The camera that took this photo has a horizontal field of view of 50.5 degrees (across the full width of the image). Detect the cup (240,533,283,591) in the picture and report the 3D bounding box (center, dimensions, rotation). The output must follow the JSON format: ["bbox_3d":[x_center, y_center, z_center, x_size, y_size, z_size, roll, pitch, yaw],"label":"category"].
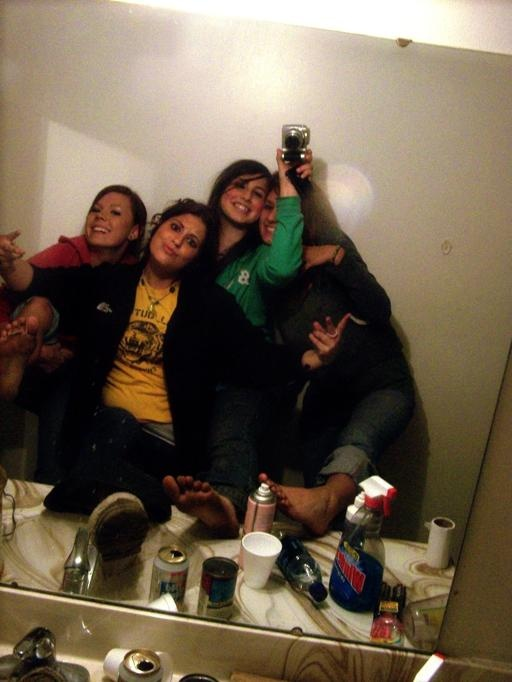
[{"bbox_3d":[0.005,0.374,0.937,0.097,0.094,0.093,4,-5,0],"label":"cup"}]

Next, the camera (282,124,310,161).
[{"bbox_3d":[0.064,-0.323,0.881,0.053,0.066,0.054,0,4,5],"label":"camera"}]

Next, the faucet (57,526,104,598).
[{"bbox_3d":[-0.311,0.397,0.973,0.046,0.126,0.133,9,38,-4],"label":"faucet"}]

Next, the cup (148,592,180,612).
[{"bbox_3d":[-0.157,0.451,0.930,0.040,0.036,0.035,0,0,-4],"label":"cup"}]
